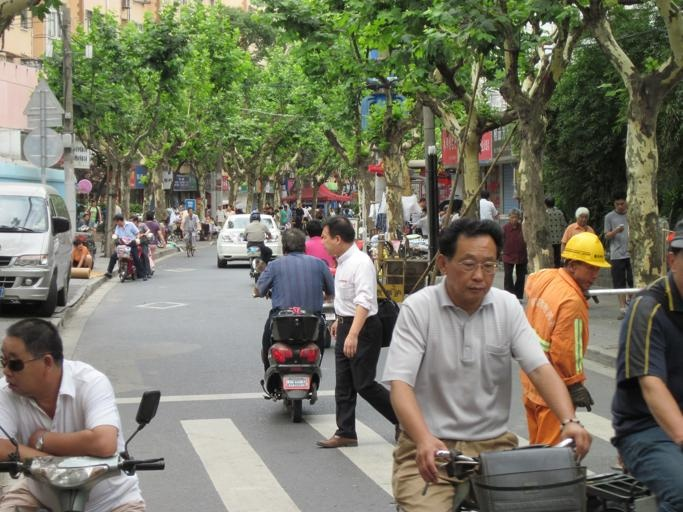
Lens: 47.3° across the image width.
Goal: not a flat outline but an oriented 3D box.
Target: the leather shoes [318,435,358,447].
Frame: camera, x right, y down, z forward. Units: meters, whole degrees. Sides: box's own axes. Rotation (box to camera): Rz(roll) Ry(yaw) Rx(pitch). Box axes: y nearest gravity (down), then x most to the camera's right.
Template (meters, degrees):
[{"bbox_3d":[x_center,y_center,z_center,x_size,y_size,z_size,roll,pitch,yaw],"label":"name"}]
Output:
[{"bbox_3d":[-0.033,1.715,7.262,0.361,0.165,0.134,3,-2,-6],"label":"leather shoes"}]

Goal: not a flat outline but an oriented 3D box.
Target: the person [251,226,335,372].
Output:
[{"bbox_3d":[-0.547,0.315,9.163,0.796,1.038,1.524,1,0,-2],"label":"person"}]

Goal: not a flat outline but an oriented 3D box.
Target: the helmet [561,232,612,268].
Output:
[{"bbox_3d":[1.675,-0.038,5.390,0.281,0.192,0.228,15,12,35],"label":"helmet"}]

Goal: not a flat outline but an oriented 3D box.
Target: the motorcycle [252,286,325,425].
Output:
[{"bbox_3d":[-0.557,1.101,9.079,0.734,1.301,2.057,1,0,-8],"label":"motorcycle"}]

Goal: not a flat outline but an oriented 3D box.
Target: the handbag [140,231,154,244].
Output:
[{"bbox_3d":[-5.711,-0.548,22.933,0.242,0.343,0.317,2,13,6],"label":"handbag"}]

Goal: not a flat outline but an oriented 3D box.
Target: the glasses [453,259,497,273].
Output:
[{"bbox_3d":[0.677,0.047,3.803,0.221,0.062,0.080,-1,2,-28],"label":"glasses"}]

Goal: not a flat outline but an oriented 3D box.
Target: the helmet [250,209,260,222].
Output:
[{"bbox_3d":[-2.506,-1.176,22.608,0.206,0.280,0.343,-1,8,-3],"label":"helmet"}]

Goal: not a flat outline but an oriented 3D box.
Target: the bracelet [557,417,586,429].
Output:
[{"bbox_3d":[1.084,0.781,3.688,0.105,0.053,0.095,-13,6,6],"label":"bracelet"}]

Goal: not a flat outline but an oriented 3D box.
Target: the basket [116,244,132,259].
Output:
[{"bbox_3d":[-5.948,-0.147,21.386,0.344,0.365,0.276,-1,11,-5],"label":"basket"}]

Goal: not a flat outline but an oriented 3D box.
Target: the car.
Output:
[{"bbox_3d":[-3.488,-0.517,26.873,1.551,1.272,3.710,1,6,-1],"label":"car"}]
